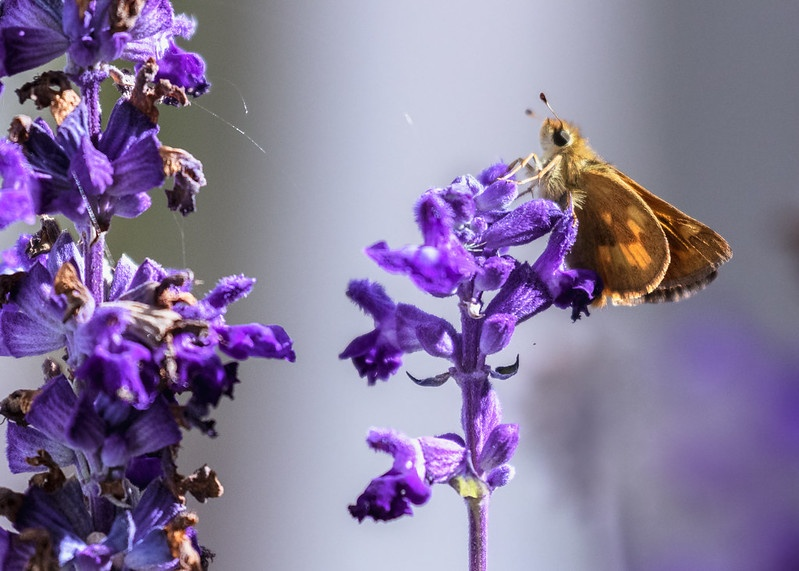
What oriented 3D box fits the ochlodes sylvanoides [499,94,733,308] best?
[{"bbox_3d":[0.371,-0.124,2.006,0.192,0.405,0.398,-48,-52,-3],"label":"ochlodes sylvanoides"}]
